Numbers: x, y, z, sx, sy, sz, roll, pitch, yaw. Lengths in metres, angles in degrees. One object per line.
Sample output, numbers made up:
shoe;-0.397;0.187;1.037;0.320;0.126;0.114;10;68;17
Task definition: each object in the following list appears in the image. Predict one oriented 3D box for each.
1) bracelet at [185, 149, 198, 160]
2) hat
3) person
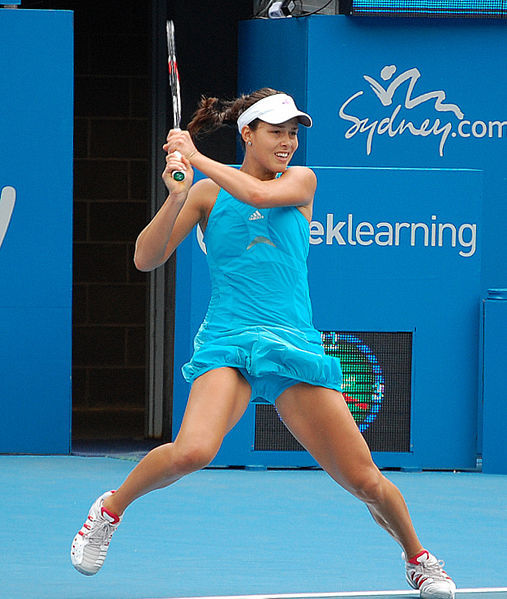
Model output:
bracelet;-0.186;-0.435;2.782;0.033;0.030;0.007;25;-21;47
hat;0.059;-0.574;2.882;0.130;0.069;0.191;7;-14;-32
person;0.066;0.101;2.765;0.911;1.496;0.548;5;-1;25
